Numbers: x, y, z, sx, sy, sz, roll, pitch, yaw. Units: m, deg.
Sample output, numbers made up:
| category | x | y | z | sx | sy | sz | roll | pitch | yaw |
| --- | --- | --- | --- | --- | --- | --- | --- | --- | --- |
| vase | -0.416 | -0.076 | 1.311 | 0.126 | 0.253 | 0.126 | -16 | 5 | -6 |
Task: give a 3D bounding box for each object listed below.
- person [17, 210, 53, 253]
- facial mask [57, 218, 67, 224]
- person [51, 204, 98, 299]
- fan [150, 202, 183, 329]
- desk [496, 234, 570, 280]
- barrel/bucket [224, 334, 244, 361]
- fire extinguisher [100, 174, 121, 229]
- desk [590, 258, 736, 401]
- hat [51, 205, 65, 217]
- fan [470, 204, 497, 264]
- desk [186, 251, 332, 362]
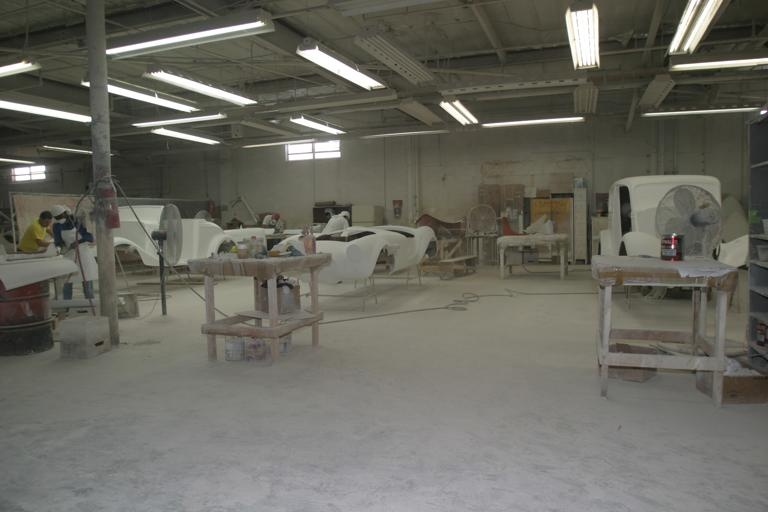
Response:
| category | x | y | z | sx | sy | sz | roll | pitch | yaw |
| --- | --- | --- | --- | --- | --- | --- | --- | --- | --- |
| person | -6.038 | -0.438 | 9.273 | 0.514 | 0.667 | 2.178 | -6 | 6 | -33 |
| facial mask | -5.031 | -0.546 | 8.361 | 0.111 | 0.074 | 0.088 | 2 | -6 | 39 |
| person | -4.862 | -0.061 | 8.419 | 0.547 | 1.496 | 1.048 | -6 | 6 | -30 |
| fan | -3.881 | -0.029 | 9.671 | 0.475 | 1.864 | 1.991 | -5 | 6 | -21 |
| desk | 3.551 | -0.042 | 12.362 | 1.919 | 0.829 | 1.856 | -10 | 8 | -24 |
| barrel/bucket | -1.876 | 1.109 | 6.561 | 0.352 | 0.291 | 0.160 | 1 | 7 | 40 |
| fire extinguisher | -3.655 | -0.731 | 7.102 | 0.254 | 0.881 | 0.240 | -8 | 23 | -34 |
| desk | 2.961 | 0.782 | 5.908 | 1.526 | 1.306 | 1.609 | 0 | 3 | 2 |
| hat | -5.130 | -0.710 | 8.449 | 0.162 | 0.138 | 0.210 | -7 | 8 | -33 |
| fan | 2.615 | -0.584 | 14.286 | 0.790 | 1.624 | 1.014 | -2 | 5 | 9 |
| desk | -1.558 | 0.480 | 6.944 | 1.264 | 1.336 | 1.544 | 3 | 7 | 26 |
